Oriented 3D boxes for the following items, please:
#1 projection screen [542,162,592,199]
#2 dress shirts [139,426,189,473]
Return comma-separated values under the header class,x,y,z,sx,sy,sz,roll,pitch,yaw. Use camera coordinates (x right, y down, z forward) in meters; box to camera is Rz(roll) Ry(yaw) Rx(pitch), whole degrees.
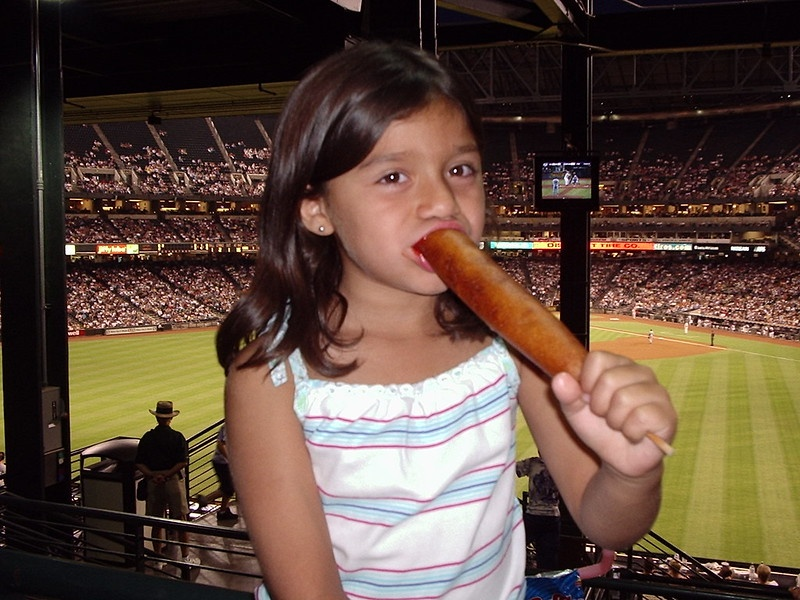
class,x,y,z,sx,sy,sz,roll,pitch,yaw
projection screen,2.564,-1.807,8.958,0.700,0.417,0.027,0,-2,12
dress shirts,-2.734,1.681,6.752,0.533,0.491,0.276,-5,11,-20
